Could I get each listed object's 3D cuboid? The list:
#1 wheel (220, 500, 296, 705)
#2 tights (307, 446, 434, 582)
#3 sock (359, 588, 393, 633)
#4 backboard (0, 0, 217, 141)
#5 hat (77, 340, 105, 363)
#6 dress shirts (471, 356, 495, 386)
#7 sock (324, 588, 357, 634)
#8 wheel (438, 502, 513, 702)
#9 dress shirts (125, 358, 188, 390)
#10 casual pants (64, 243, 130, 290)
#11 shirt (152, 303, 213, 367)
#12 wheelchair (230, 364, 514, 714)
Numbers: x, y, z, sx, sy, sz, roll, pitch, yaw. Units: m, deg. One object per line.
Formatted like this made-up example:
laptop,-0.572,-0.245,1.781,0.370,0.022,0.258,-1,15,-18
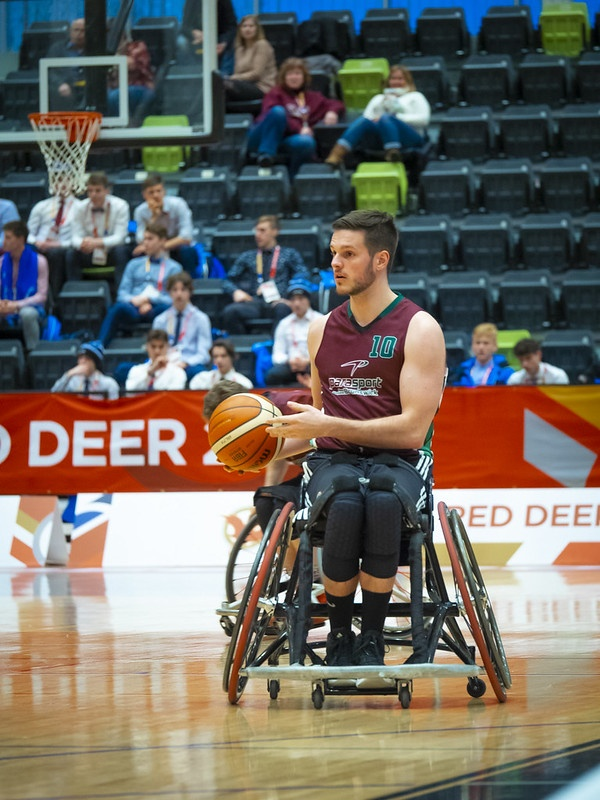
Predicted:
wheel,-0.145,0.737,4.175,0.086,0.785,0.853,16,4,5
tights,0.230,0.398,3.953,0.454,0.395,0.449,1,7,3
sock,0.258,0.707,3.881,0.094,0.146,0.184,1,7,3
backboard,-1.361,-2.470,8.478,1.282,0.775,0.057,1,3,-1
hat,-1.885,-0.451,10.225,0.240,0.176,0.213,19,2,27
dress shirts,1.560,-0.226,9.777,0.189,0.230,0.125,3,-27,16
sock,0.138,0.717,3.883,0.093,0.137,0.166,1,7,2
wheel,0.602,0.710,3.929,0.266,0.676,0.375,1,8,6
dress shirts,-1.266,-0.184,10.091,0.596,0.388,0.300,-2,-2,-4
casual pants,-2.073,-1.401,11.662,0.556,0.636,0.553,-1,-12,9
shirt,-1.064,-0.560,10.349,0.731,0.614,0.394,-1,2,5
wheelchair,0.253,0.501,4.152,0.917,1.138,0.929,-1,2,5
